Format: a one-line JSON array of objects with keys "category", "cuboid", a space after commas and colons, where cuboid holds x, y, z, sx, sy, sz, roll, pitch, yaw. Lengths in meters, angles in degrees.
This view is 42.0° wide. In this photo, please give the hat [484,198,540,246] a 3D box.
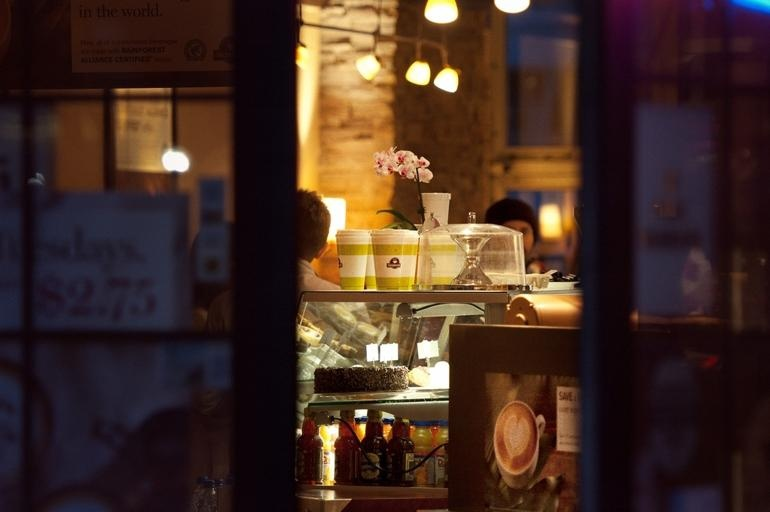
[{"category": "hat", "cuboid": [0.705, -0.185, 5.486, 0.302, 0.252, 0.233, 1, 0, 16]}]

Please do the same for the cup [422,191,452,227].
[{"category": "cup", "cuboid": [0.173, -0.159, 3.399, 0.099, 0.115, 0.100, -1, -2, 0]}]

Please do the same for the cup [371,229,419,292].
[{"category": "cup", "cuboid": [0.035, 0.012, 3.103, 0.161, 0.180, 0.170, 1, -1, 0]}]

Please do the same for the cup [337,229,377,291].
[{"category": "cup", "cuboid": [-0.074, 0.012, 3.052, 0.152, 0.224, 0.162, -3, -2, 0]}]
